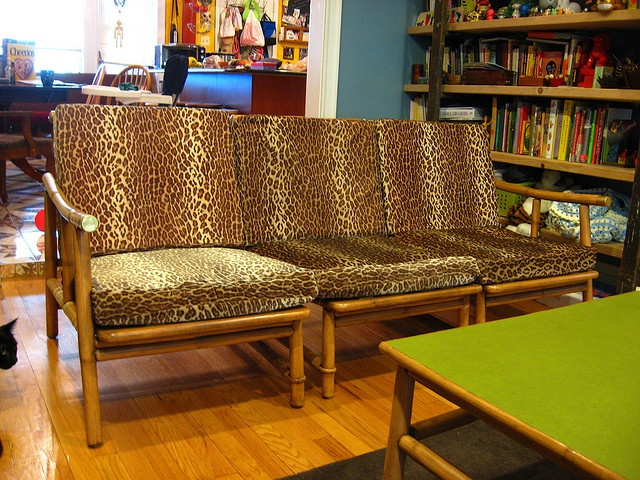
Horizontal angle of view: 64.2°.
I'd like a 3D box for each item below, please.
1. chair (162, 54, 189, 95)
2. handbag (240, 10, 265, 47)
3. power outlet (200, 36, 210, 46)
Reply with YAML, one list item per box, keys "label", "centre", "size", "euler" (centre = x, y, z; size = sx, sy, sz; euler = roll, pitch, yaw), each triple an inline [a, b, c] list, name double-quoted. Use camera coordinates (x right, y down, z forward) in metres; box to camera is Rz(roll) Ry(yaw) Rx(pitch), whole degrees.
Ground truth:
- label: "chair"
  centre: [-1.334, -1.529, 4.686]
  size: [0.237, 0.380, 0.298]
  euler: [-5, 16, -20]
- label: "handbag"
  centre: [-0.911, -2.882, 6.833]
  size: [0.303, 0.461, 0.248]
  euler: [-2, 15, -7]
- label: "power outlet"
  centre: [-1.960, -3.414, 8.655]
  size: [0.175, 0.190, 0.082]
  euler: [-1, 15, -3]
